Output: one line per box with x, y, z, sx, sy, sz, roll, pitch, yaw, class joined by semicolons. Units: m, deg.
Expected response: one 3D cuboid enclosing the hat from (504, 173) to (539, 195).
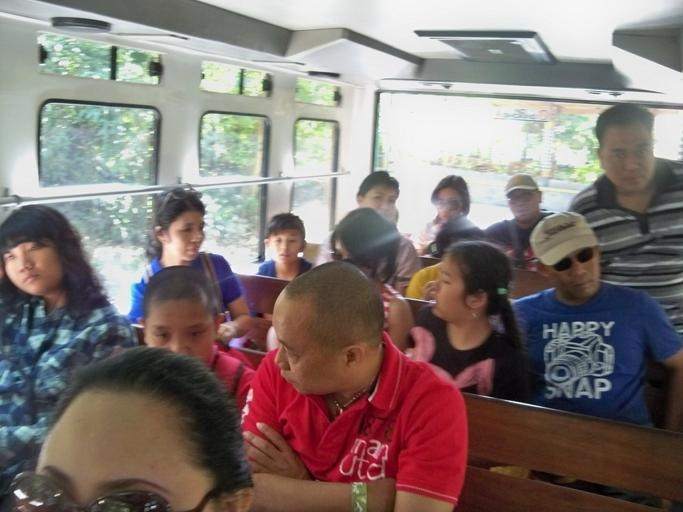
1.666;-0.660;5.054;0.276;0.210;0.229;1;5;-5;hat

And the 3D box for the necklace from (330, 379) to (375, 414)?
0.062;0.506;1.916;0.044;0.163;0.088;52;-4;-34;necklace
